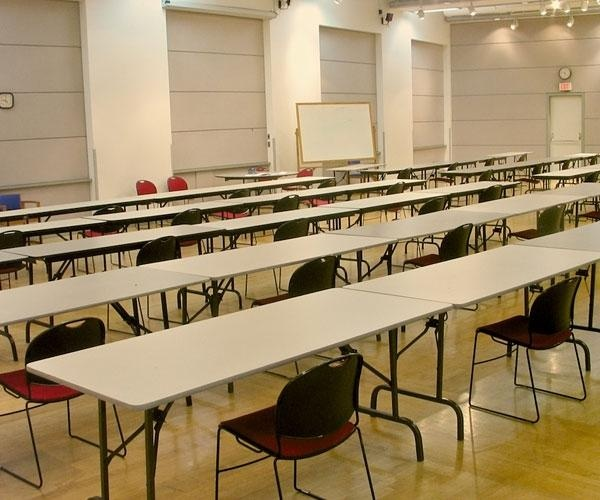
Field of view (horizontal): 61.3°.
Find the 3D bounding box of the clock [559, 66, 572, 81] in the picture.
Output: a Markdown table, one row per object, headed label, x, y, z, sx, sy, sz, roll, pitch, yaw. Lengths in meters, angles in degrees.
| label | x | y | z | sx | sy | sz | roll | pitch | yaw |
| --- | --- | --- | --- | --- | --- | --- | --- | --- | --- |
| clock | 8.475 | -5.666 | 16.122 | 0.087 | 0.493 | 0.434 | -8 | 4 | -43 |
